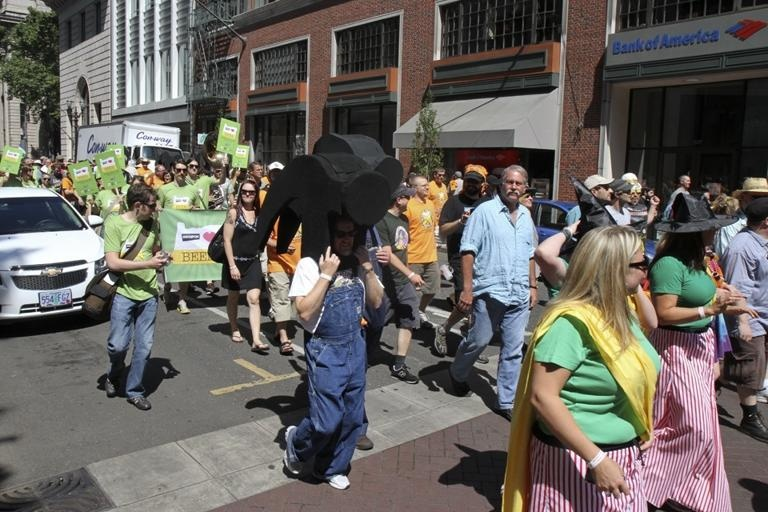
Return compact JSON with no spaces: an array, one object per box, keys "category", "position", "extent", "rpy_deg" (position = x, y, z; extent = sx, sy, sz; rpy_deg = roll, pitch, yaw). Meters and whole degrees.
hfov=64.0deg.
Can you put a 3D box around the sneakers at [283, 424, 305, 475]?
[{"category":"sneakers","position":[-0.848,1.965,5.997],"extent":[0.177,0.576,0.228],"rpy_deg":[-8,21,-17]}]

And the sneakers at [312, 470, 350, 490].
[{"category":"sneakers","position":[-0.482,2.136,5.961],"extent":[0.288,0.137,0.144],"rpy_deg":[0,10,29]}]

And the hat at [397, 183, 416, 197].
[{"category":"hat","position":[0.315,-0.885,8.426],"extent":[0.296,0.116,0.188],"rpy_deg":[-7,19,-24]}]

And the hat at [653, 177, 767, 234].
[{"category":"hat","position":[2.846,-0.397,5.640],"extent":[0.792,0.368,0.431],"rpy_deg":[-6,15,-24]}]

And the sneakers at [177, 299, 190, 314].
[{"category":"sneakers","position":[-3.582,0.888,11.084],"extent":[0.179,0.206,0.423],"rpy_deg":[-2,7,-36]}]

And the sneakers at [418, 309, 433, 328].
[{"category":"sneakers","position":[0.690,1.052,10.288],"extent":[0.150,0.213,0.463],"rpy_deg":[-2,1,-19]}]

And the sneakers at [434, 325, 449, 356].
[{"category":"sneakers","position":[0.860,1.240,8.937],"extent":[0.150,0.476,0.195],"rpy_deg":[13,-42,-30]}]

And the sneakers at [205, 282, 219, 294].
[{"category":"sneakers","position":[-3.426,0.669,12.383],"extent":[0.139,0.282,0.382],"rpy_deg":[3,-17,-34]}]

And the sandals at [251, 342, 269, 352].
[{"category":"sandals","position":[-1.812,1.320,8.938],"extent":[0.255,0.110,0.104],"rpy_deg":[-5,-5,43]}]

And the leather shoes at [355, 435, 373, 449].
[{"category":"leather shoes","position":[-0.209,1.975,6.537],"extent":[0.129,0.112,0.260],"rpy_deg":[-2,0,-27]}]

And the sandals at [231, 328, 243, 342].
[{"category":"sandals","position":[-2.252,1.217,9.446],"extent":[0.107,0.166,0.354],"rpy_deg":[3,-6,-21]}]

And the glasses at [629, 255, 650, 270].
[{"category":"glasses","position":[1.954,0.046,4.714],"extent":[0.113,0.035,0.116],"rpy_deg":[-6,9,2]}]

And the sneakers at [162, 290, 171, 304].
[{"category":"sneakers","position":[-4.038,0.767,11.455],"extent":[0.100,0.228,0.208],"rpy_deg":[3,15,-7]}]

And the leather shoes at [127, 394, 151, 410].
[{"category":"leather shoes","position":[-2.868,1.708,7.306],"extent":[0.337,0.148,0.127],"rpy_deg":[6,12,27]}]

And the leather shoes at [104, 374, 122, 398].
[{"category":"leather shoes","position":[-3.334,1.578,7.607],"extent":[0.161,0.241,0.332],"rpy_deg":[5,10,-25]}]
